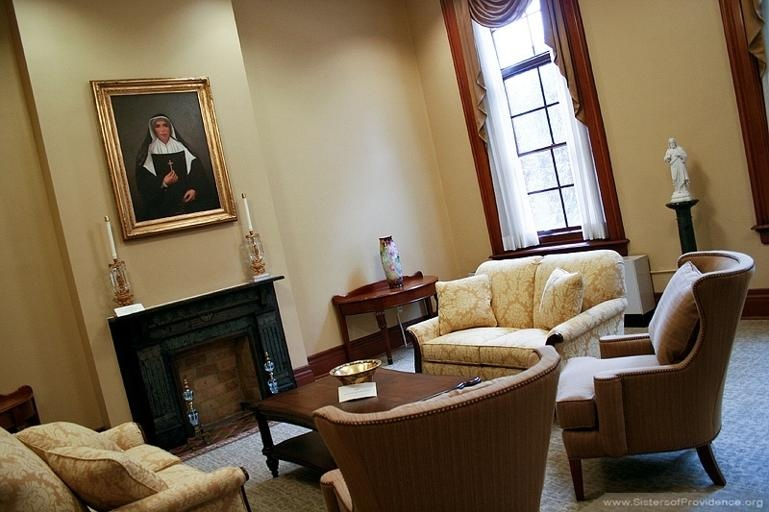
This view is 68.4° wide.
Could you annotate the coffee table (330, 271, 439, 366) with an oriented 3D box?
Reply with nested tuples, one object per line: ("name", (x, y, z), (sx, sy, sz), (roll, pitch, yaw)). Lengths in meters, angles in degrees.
("coffee table", (0.185, 0.757, 6.694), (1.471, 0.963, 0.598), (-13, 6, -42))

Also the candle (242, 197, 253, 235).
("candle", (-1.388, -0.430, 5.700), (0.079, 0.368, 0.268), (-10, 5, -13))

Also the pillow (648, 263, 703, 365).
("pillow", (1.890, 0.352, 3.677), (0.239, 0.534, 0.585), (-2, 17, 29))

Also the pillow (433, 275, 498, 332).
("pillow", (0.749, 0.452, 5.236), (0.487, 0.537, 0.206), (-6, -17, 14))

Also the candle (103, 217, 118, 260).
("candle", (-2.514, -0.158, 5.176), (0.075, 0.422, 0.199), (-12, 5, -26))

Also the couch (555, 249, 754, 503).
("couch", (1.807, 0.754, 3.823), (1.173, 1.365, 1.009), (-6, 5, 23))

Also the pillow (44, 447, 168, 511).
("pillow", (-1.548, 1.226, 3.101), (0.404, 0.201, 0.418), (20, -5, -2))

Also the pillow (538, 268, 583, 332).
("pillow", (1.432, 0.376, 4.552), (0.232, 0.464, 0.458), (-4, -3, -18))

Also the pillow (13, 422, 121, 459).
("pillow", (-2.008, 1.126, 3.490), (0.403, 0.132, 0.368), (5, -6, 41))

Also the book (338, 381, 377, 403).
("book", (-0.203, 1.013, 4.203), (0.194, 0.049, 0.143), (-12, 1, -9))
